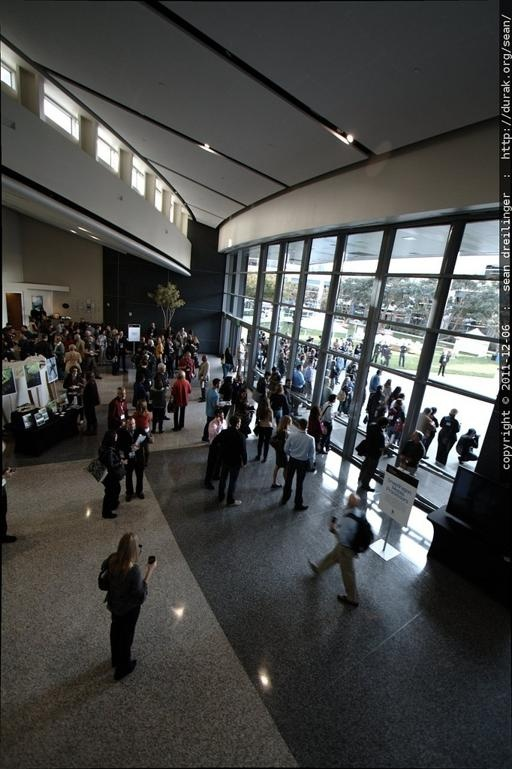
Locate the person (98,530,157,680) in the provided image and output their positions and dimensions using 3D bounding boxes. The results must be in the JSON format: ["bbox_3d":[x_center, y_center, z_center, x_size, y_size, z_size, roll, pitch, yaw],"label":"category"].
[{"bbox_3d":[-1.009,1.683,3.099,0.392,1.273,0.709,5,12,-8],"label":"person"}]

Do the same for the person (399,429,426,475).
[{"bbox_3d":[2.410,1.054,6.394,0.309,0.764,0.581,12,13,20],"label":"person"}]

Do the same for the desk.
[{"bbox_3d":[-3.710,0.752,7.253,0.442,0.813,1.274,9,12,9],"label":"desk"}]

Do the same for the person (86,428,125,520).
[{"bbox_3d":[-2.025,1.268,5.527,0.515,1.142,0.429,-27,54,-34],"label":"person"}]

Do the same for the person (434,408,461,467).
[{"bbox_3d":[2.998,0.869,6.490,0.316,1.034,0.251,17,16,38],"label":"person"}]

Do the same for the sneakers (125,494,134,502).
[{"bbox_3d":[-1.809,1.629,5.854,0.111,0.111,0.066,-1,16,-24],"label":"sneakers"}]

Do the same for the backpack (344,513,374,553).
[{"bbox_3d":[1.024,1.490,4.222,0.274,0.408,0.409,0,14,-2],"label":"backpack"}]

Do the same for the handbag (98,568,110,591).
[{"bbox_3d":[-1.137,1.480,3.059,0.070,0.169,0.101,0,14,-28],"label":"handbag"}]

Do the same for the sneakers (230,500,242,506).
[{"bbox_3d":[-0.302,1.765,6.048,0.060,0.067,0.164,19,18,41],"label":"sneakers"}]

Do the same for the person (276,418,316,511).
[{"bbox_3d":[0.607,1.162,6.038,0.440,1.453,0.489,9,13,8],"label":"person"}]

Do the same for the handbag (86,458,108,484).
[{"bbox_3d":[-1.990,1.096,5.101,0.267,0.301,0.172,9,13,11],"label":"handbag"}]

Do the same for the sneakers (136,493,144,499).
[{"bbox_3d":[-1.672,1.636,5.934,0.109,0.108,0.049,-9,24,-25],"label":"sneakers"}]

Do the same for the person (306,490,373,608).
[{"bbox_3d":[0.943,1.974,4.781,0.785,1.333,0.505,26,37,28],"label":"person"}]

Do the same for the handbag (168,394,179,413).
[{"bbox_3d":[-1.875,0.459,9.217,0.192,0.461,0.307,-8,22,-21],"label":"handbag"}]

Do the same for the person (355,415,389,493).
[{"bbox_3d":[1.896,1.178,6.895,0.387,1.419,0.864,11,13,18],"label":"person"}]

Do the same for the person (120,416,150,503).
[{"bbox_3d":[-1.762,1.064,5.914,0.383,1.274,0.819,4,13,-13],"label":"person"}]

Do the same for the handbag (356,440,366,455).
[{"bbox_3d":[1.734,1.036,6.674,0.079,0.305,0.276,1,-6,-28],"label":"handbag"}]
